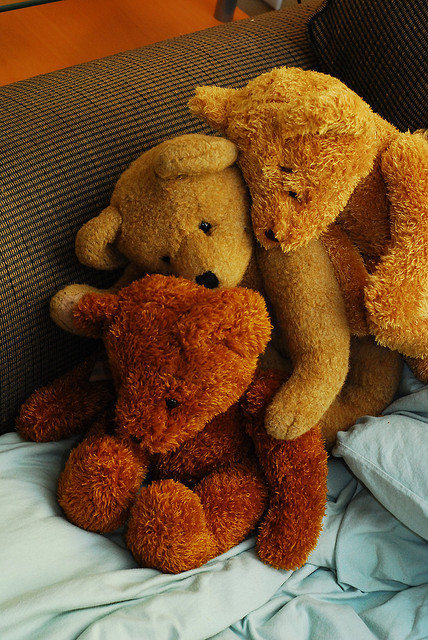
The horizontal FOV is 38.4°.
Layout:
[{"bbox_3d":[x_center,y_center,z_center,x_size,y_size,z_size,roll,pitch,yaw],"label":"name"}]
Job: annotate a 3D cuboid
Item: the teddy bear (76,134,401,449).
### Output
[{"bbox_3d":[0.000,-0.002,0.695,0.288,0.285,0.335,-41,121,-19],"label":"teddy bear"}]
